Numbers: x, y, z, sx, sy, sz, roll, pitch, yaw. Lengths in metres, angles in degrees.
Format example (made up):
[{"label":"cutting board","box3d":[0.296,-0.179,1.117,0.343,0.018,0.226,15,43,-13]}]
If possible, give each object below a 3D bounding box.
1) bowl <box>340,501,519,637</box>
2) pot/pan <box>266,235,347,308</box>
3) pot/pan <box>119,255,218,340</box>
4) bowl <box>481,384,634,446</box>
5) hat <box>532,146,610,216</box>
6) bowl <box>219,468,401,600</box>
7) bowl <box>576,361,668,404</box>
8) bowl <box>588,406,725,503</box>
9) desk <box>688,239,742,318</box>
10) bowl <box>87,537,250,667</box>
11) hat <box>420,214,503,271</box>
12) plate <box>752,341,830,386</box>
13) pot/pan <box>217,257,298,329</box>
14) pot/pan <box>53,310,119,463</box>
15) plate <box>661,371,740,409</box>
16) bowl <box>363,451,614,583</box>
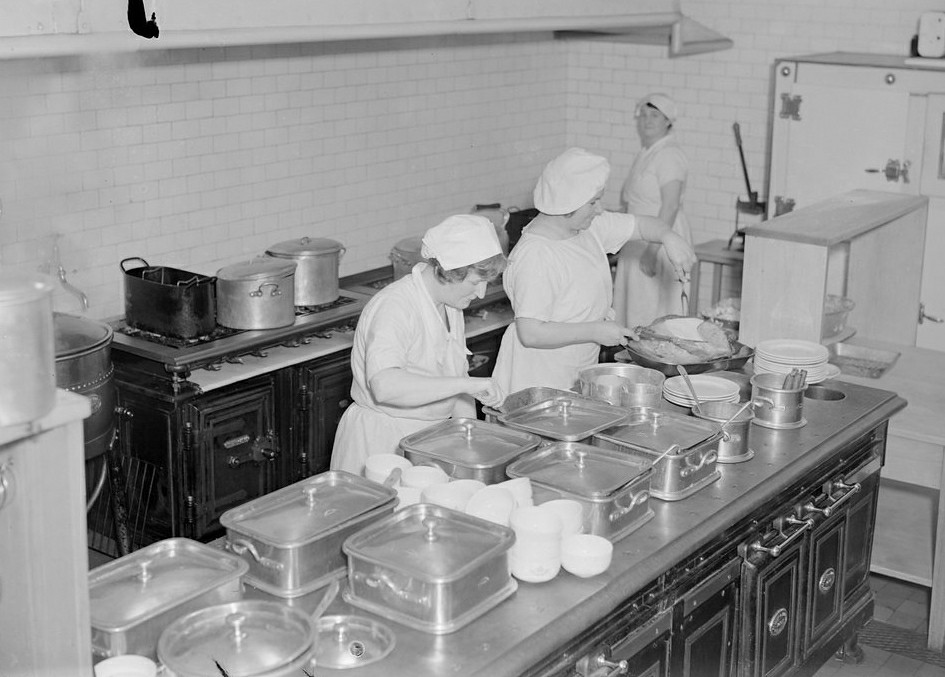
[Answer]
[{"label":"bowl","box3d":[-0.136,0.684,2.671,0.415,0.239,0.358,8,17,33]},{"label":"pot/pan","box3d":[-1.041,-0.422,5.348,0.474,0.353,0.429,4,17,10]},{"label":"pot/pan","box3d":[-1.617,-0.178,4.776,0.669,0.289,0.256,6,9,41]},{"label":"bowl","box3d":[0.365,0.345,3.511,0.450,0.161,0.499,-14,12,-20]},{"label":"hat","box3d":[0.460,-0.776,4.456,0.382,0.124,0.300,34,-6,9]},{"label":"bowl","box3d":[-0.528,0.579,2.774,0.318,0.171,0.477,14,22,33]},{"label":"bowl","box3d":[0.640,0.200,3.912,0.260,0.073,0.228,-2,12,-4]},{"label":"bowl","box3d":[0.706,0.415,3.365,0.425,0.183,0.322,8,17,38]},{"label":"desk","box3d":[2.077,-0.485,7.374,0.350,0.375,0.315,-5,1,17]},{"label":"bowl","box3d":[-0.897,0.773,2.532,0.265,0.155,0.386,12,20,31]},{"label":"hat","box3d":[-0.054,-0.386,3.606,0.288,0.142,0.222,-15,21,18]},{"label":"plate","box3d":[1.543,0.098,4.268,0.277,0.083,0.256,2,15,12]},{"label":"pot/pan","box3d":[-1.223,-0.267,4.961,0.436,0.317,0.407,15,23,32]},{"label":"pot/pan","box3d":[-1.819,0.257,4.185,0.254,0.685,0.465,-8,16,-21]},{"label":"plate","box3d":[1.022,0.225,3.967,0.207,0.036,0.190,-4,17,-10]},{"label":"bowl","box3d":[0.122,0.568,2.852,0.562,0.130,0.301,15,22,33]}]
